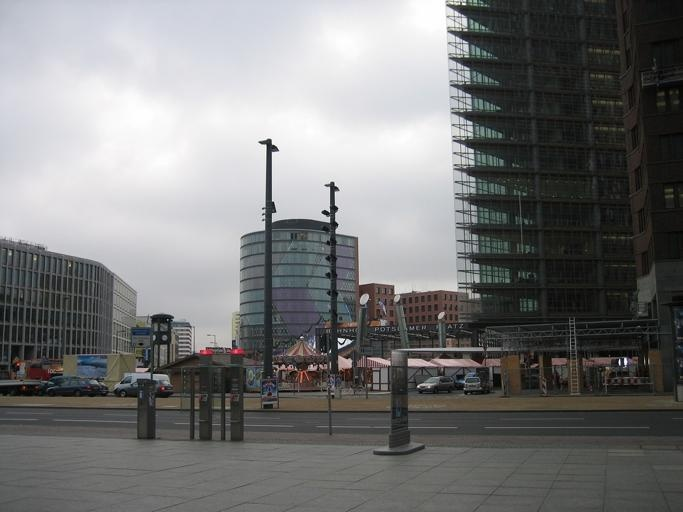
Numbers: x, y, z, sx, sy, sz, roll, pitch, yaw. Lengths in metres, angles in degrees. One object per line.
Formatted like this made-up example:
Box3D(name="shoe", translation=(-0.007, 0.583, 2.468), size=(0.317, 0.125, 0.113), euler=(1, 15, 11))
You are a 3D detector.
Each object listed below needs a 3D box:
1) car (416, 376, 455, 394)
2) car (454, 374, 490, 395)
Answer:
Box3D(name="car", translation=(7.463, 10.249, 62.902), size=(1.267, 0.876, 2.822), euler=(-12, -16, 43))
Box3D(name="car", translation=(10.396, 9.968, 60.755), size=(1.397, 0.985, 2.890), euler=(-4, -22, 13))
